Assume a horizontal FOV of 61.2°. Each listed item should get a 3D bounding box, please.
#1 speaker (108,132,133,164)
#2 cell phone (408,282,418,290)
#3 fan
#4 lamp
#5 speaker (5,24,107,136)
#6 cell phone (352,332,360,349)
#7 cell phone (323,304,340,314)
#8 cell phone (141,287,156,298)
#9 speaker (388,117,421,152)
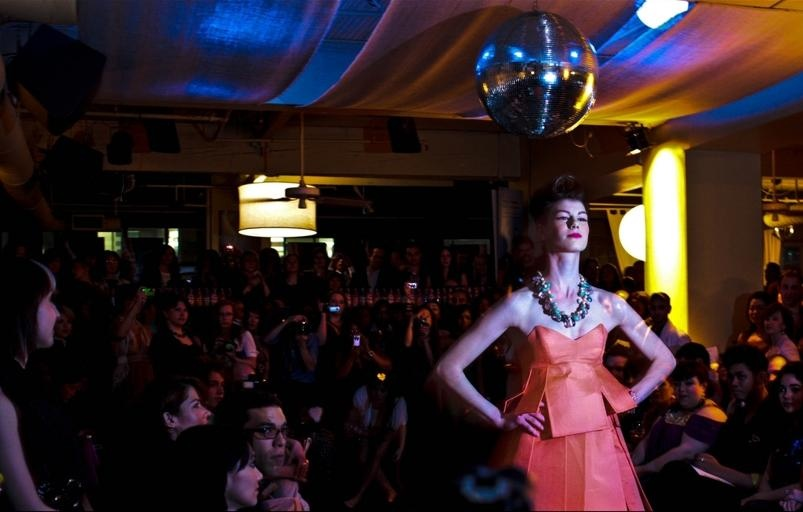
[{"bbox_3d":[-3.809,-1.496,9.193,0.286,0.483,0.309,3,0,-17],"label":"speaker"},{"bbox_3d":[0.134,0.379,8.641,0.133,0.073,0.088,-3,7,-41],"label":"cell phone"},{"bbox_3d":[-1.144,-1.186,7.936,1.381,1.339,1.425,-1,-1,11],"label":"fan"},{"bbox_3d":[-1.410,-0.572,7.642,0.808,0.475,0.799,-7,4,-16],"label":"lamp"},{"bbox_3d":[-2.684,-1.383,5.229,0.695,0.858,0.424,3,0,22],"label":"speaker"},{"bbox_3d":[-0.458,0.861,6.874,0.119,0.168,0.111,0,-10,0],"label":"cell phone"},{"bbox_3d":[-0.741,0.569,7.346,0.126,0.092,0.084,0,41,-5],"label":"cell phone"},{"bbox_3d":[-2.704,0.384,7.262,0.050,0.140,0.198,-8,2,-9],"label":"cell phone"},{"bbox_3d":[0.009,-1.563,8.739,0.407,0.557,0.127,-6,-24,-3],"label":"speaker"}]
